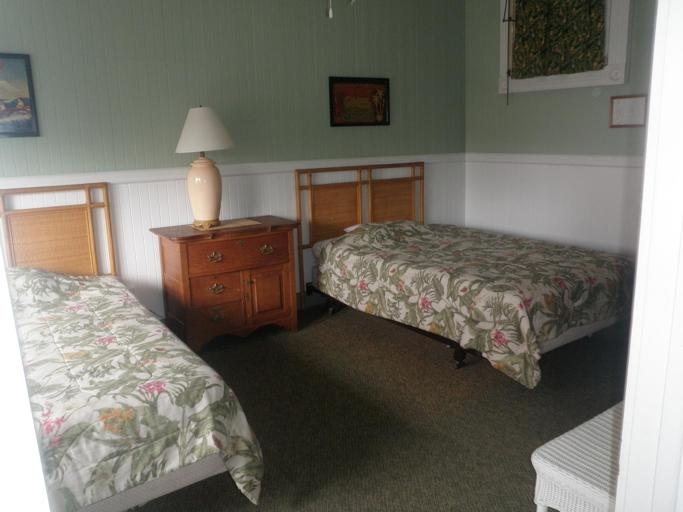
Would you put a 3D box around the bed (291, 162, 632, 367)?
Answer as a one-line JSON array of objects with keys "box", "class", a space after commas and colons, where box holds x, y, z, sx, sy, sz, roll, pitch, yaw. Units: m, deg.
[{"box": [0.643, -0.058, 3.952, 1.379, 1.300, 1.552, -8, 14, -33], "class": "bed"}]

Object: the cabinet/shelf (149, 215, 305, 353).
[{"box": [-0.701, 0.105, 3.797, 1.417, 1.145, 0.798, -7, 11, -34], "class": "cabinet/shelf"}]
